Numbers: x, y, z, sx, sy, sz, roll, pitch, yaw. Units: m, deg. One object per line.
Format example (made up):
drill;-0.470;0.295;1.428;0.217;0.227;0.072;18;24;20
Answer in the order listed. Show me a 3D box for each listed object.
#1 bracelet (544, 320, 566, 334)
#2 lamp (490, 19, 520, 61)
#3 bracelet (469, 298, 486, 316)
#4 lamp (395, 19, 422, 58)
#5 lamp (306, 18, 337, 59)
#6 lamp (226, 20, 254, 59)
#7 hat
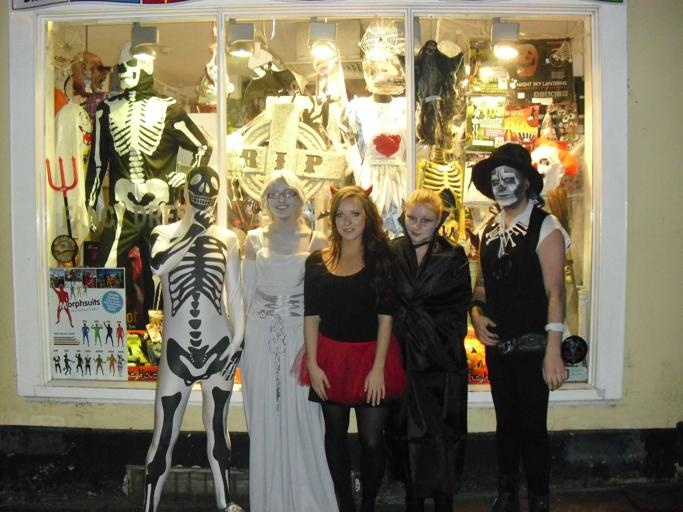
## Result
bracelet;1.456;0.481;4.940;0.165;0.058;0.096;0;0;-16
lamp;1.333;-1.850;6.036;0.148;0.289;0.212;-4;32;-14
bracelet;0.970;0.360;5.236;0.096;0.092;0.097;27;-36;-4
lamp;0.535;-1.761;5.919;0.206;0.294;0.123;0;0;4
lamp;-0.163;-1.766;5.988;0.234;0.304;0.115;0;0;-1
lamp;-0.829;-1.737;5.927;0.213;0.276;0.254;2;-2;-15
hat;1.194;-0.696;5.178;0.439;0.180;0.384;12;1;19
